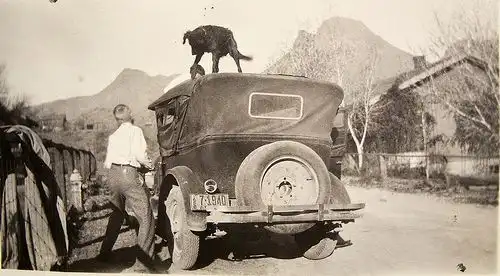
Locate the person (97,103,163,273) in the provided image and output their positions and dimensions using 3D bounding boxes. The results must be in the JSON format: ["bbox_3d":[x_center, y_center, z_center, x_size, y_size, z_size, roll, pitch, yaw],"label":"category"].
[{"bbox_3d":[-3.118,1.552,10.583,1.289,3.810,0.638,1,-4,-5],"label":"person"}]
